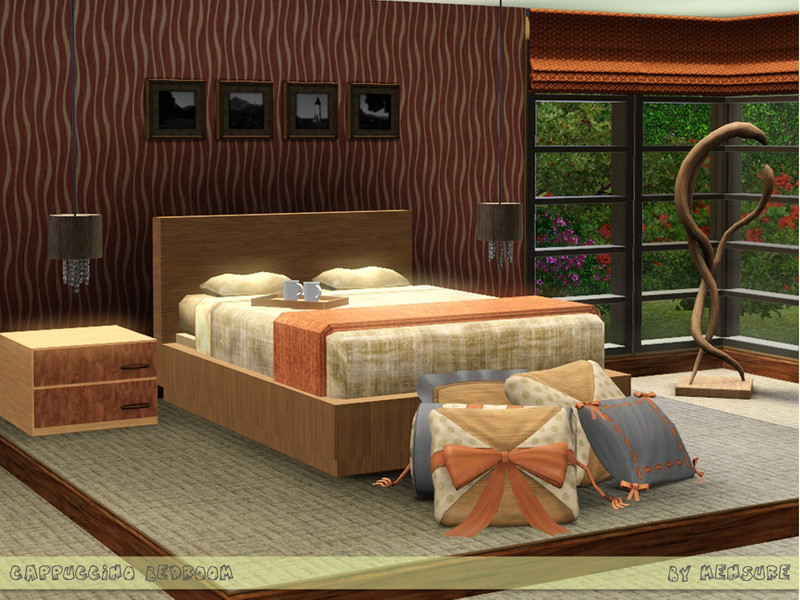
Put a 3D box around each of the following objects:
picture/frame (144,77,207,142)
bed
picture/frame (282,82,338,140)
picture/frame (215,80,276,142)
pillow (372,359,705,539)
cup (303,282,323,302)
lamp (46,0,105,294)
[{"bbox_3d":[-1.791,-1.515,5.026,0.055,0.459,0.556,26,29,29],"label":"picture/frame"},{"bbox_3d":[-0.307,0.277,4.181,2.230,1.165,2.721,-2,3,-30],"label":"bed"},{"bbox_3d":[-0.765,-1.628,5.428,0.059,0.453,0.561,25,30,39],"label":"picture/frame"},{"bbox_3d":[-1.313,-1.579,5.215,0.709,0.544,0.070,-2,4,-24],"label":"picture/frame"},{"bbox_3d":[0.507,0.611,3.029,1.031,0.242,0.871,-3,3,-20],"label":"pillow"},{"bbox_3d":[-0.595,-0.061,4.392,0.148,0.134,0.102,-18,-6,36],"label":"cup"},{"bbox_3d":[-2.313,-1.117,4.420,0.320,2.161,0.764,-1,4,-25],"label":"lamp"}]
